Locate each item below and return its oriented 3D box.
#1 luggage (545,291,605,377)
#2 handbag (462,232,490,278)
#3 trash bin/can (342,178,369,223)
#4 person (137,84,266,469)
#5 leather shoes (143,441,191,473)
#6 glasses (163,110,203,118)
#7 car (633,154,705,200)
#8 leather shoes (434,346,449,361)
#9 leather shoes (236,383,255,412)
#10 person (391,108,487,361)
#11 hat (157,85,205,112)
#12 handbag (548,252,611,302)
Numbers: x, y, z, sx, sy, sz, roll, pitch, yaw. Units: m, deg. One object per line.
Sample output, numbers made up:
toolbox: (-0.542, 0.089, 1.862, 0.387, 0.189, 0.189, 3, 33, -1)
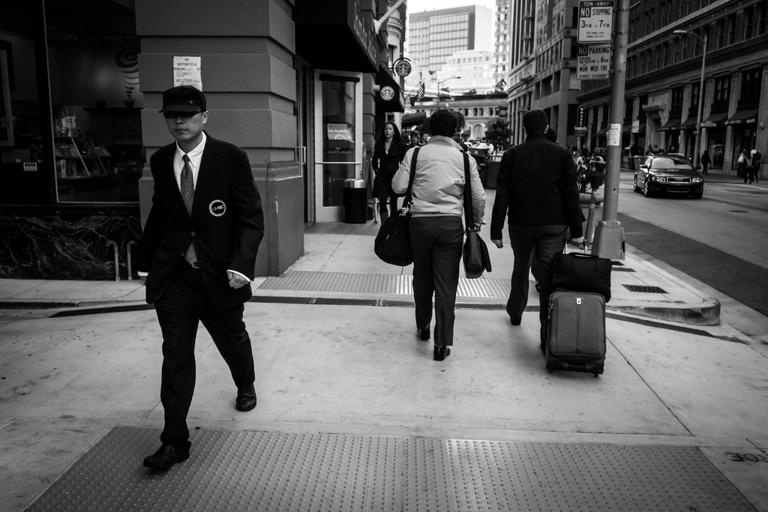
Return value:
luggage: (1.940, 0.732, 5.526, 0.587, 0.848, 0.466, 3, -15, 16)
handbag: (0.959, -0.023, 5.642, 0.171, 0.446, 0.335, -6, -7, 24)
trash bin/can: (-0.743, -1.470, 14.481, 0.610, 1.020, 0.615, 0, -6, -8)
person: (-1.365, 0.103, 4.149, 0.907, 2.698, 0.808, -5, 15, -23)
leather shoes: (-1.566, 1.455, 4.053, 0.135, 0.161, 0.371, 5, 4, 33)
glasses: (-1.463, -1.065, 4.052, 0.295, 0.079, 0.157, -4, 15, -20)
car: (13.147, -3.892, 25.824, 1.687, 1.259, 3.835, 1, 6, 16)
leather shoes: (0.595, 1.001, 5.734, 0.080, 0.100, 0.230, 1, 9, 16)
leather shoes: (-1.182, 1.214, 4.701, 0.107, 0.128, 0.294, 0, -1, -5)
person: (0.590, -0.262, 5.842, 0.676, 2.531, 0.798, -11, 18, -40)
hat: (-1.460, -1.147, 4.013, 0.206, 0.129, 0.282, 0, 11, 1)
handbag: (2.088, 0.157, 5.751, 0.624, 0.424, 0.506, 6, 7, 26)
